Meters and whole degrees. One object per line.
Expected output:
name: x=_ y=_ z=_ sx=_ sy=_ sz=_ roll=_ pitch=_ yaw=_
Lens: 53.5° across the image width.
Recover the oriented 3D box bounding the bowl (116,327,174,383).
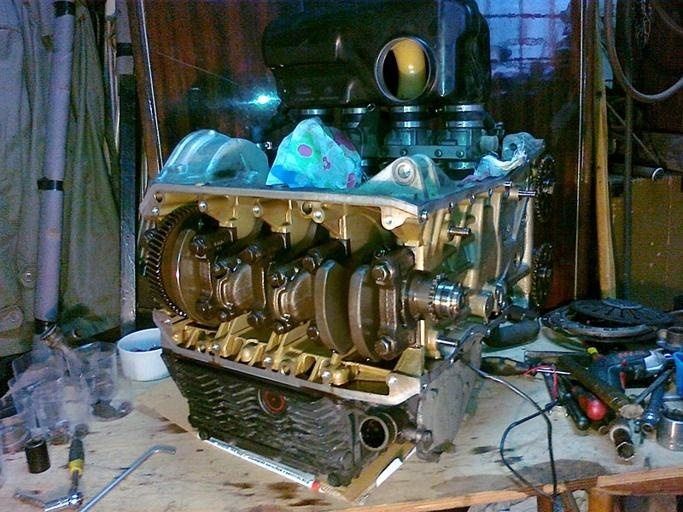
bowl: x=-0.657 y=0.316 z=2.277 sx=0.203 sy=0.176 sz=0.184 roll=-3 pitch=16 yaw=-29

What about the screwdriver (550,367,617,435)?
screwdriver: x=0.687 y=0.420 z=1.941 sx=0.067 sy=0.065 sz=0.216 roll=39 pitch=10 yaw=-11
